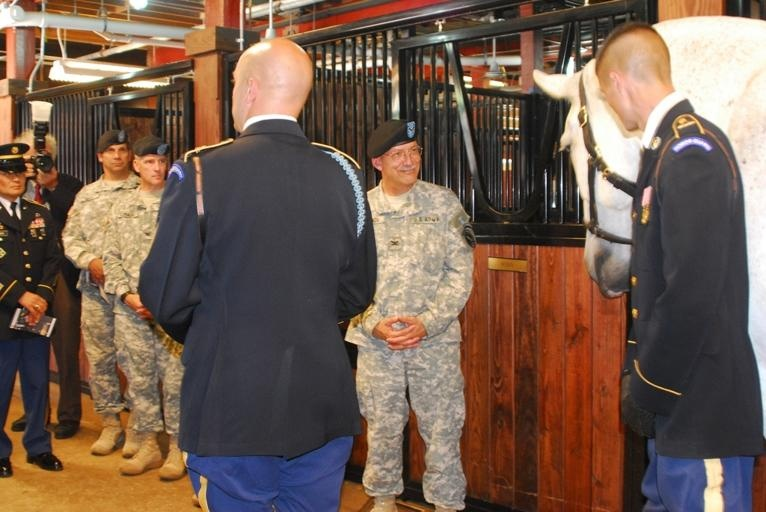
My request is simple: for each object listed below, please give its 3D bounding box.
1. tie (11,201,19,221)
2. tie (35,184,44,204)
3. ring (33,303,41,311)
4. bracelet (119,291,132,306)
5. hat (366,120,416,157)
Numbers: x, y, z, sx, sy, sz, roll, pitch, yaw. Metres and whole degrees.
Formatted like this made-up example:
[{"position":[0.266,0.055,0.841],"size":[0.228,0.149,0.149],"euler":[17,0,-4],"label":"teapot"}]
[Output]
[{"position":[-2.329,-0.275,5.074],"size":[0.028,0.112,0.032],"euler":[-5,-13,-10],"label":"tie"},{"position":[-2.488,-0.435,5.799],"size":[0.038,0.170,0.050],"euler":[-13,-19,3],"label":"tie"},{"position":[-2.126,0.324,4.925],"size":[0.048,0.044,0.011],"euler":[-8,-3,-21],"label":"ring"},{"position":[-1.617,0.275,5.030],"size":[0.053,0.070,0.073],"euler":[20,16,13],"label":"bracelet"},{"position":[0.032,-0.619,4.276],"size":[0.216,0.081,0.197],"euler":[-11,23,48],"label":"hat"}]
